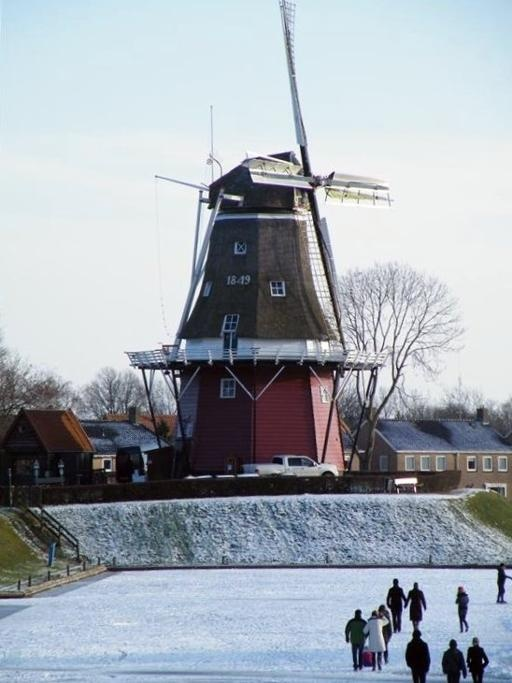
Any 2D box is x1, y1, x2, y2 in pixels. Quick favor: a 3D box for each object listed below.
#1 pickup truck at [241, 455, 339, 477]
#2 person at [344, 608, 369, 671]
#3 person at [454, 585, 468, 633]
[{"bbox_3d":[1.393,4.902,46.461,2.567,0.972,1.437,-2,0,-7],"label":"pickup truck"},{"bbox_3d":[1.909,5.739,22.759,0.390,1.295,0.728,4,3,6],"label":"person"},{"bbox_3d":[4.632,6.013,26.592,0.299,1.210,1.142,4,3,12],"label":"person"}]
